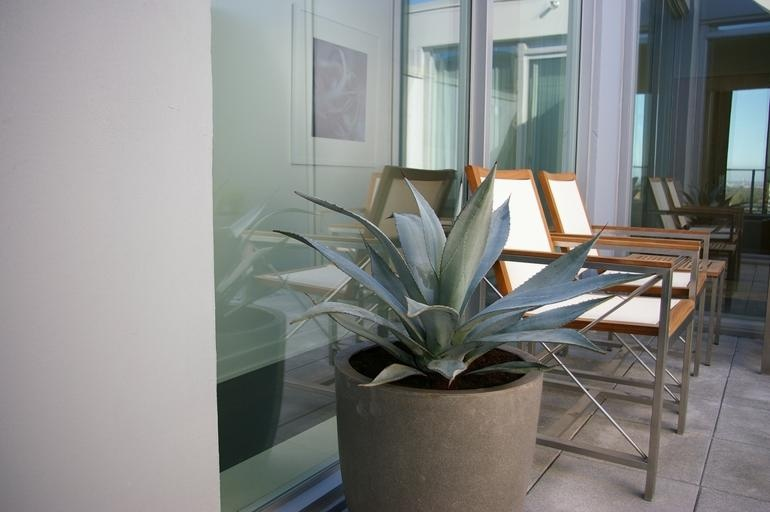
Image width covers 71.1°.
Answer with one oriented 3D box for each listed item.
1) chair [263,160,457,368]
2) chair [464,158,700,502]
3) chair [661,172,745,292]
[{"bbox_3d":[-0.143,-0.060,2.157,0.643,0.843,0.602,5,6,27],"label":"chair"},{"bbox_3d":[1.104,0.152,2.806,1.330,1.806,1.116,3,7,34],"label":"chair"},{"bbox_3d":[2.648,-0.278,4.655,0.708,1.012,0.660,2,7,31],"label":"chair"}]
